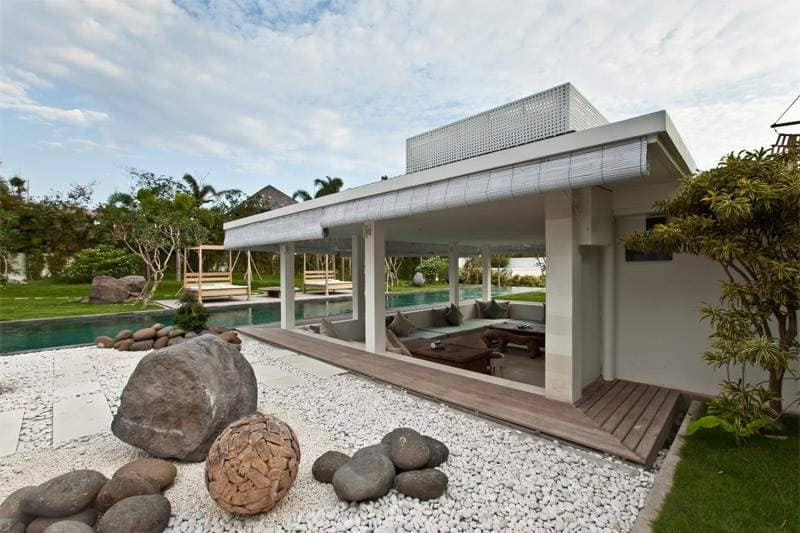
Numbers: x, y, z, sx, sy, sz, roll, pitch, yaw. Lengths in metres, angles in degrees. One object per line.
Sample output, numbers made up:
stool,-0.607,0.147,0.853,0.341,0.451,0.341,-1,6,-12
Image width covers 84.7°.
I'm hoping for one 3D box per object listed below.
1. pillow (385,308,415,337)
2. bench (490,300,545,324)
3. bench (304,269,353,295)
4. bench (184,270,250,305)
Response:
pillow,0.031,1.587,12.638,1.055,0.716,0.560,-1,-1,-44
bench,4.237,1.440,14.828,1.032,0.649,1.604,-1,-2,-41
bench,-4.430,0.878,26.178,2.141,1.135,2.110,1,-3,-39
bench,-9.565,0.991,22.082,2.388,1.361,2.946,1,-4,-39
